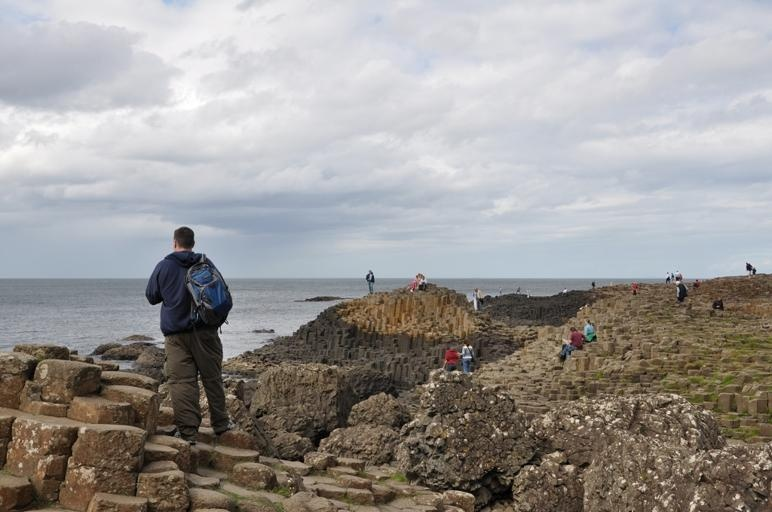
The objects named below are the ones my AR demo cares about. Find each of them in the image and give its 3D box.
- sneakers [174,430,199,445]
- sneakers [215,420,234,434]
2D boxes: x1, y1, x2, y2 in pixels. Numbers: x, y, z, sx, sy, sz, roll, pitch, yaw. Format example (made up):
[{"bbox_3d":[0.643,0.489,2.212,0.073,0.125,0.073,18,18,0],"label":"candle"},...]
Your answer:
[{"bbox_3d":[-3.062,2.759,10.410,0.310,0.128,0.104,29,-12,16],"label":"sneakers"},{"bbox_3d":[-2.662,2.777,11.152,0.282,0.183,0.207,-7,-3,23],"label":"sneakers"}]
